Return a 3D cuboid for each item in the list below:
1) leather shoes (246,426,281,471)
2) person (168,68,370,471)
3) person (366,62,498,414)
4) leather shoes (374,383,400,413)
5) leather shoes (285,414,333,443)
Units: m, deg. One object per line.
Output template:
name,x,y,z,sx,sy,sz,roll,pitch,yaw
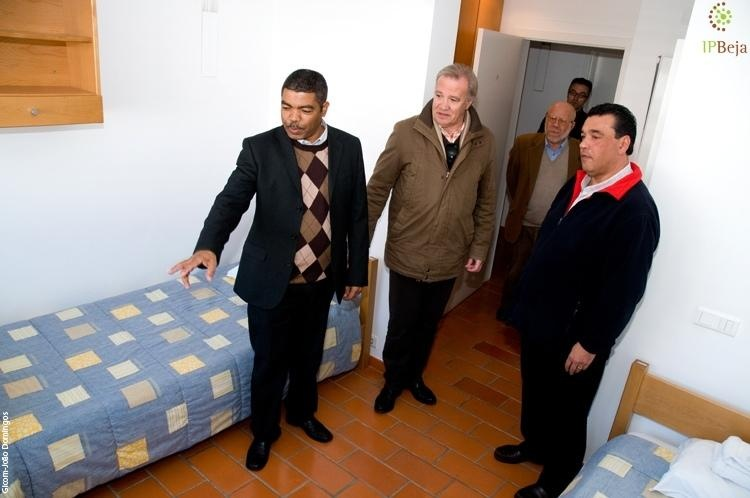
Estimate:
leather shoes,-0.673,1.193,2.808,0.118,0.111,0.306,13,37,3
person,-0.462,0.189,2.574,1.004,2.210,0.547,-7,28,-22
person,0.334,-0.027,3.093,0.886,2.261,0.488,-12,30,-30
leather shoes,0.084,1.062,3.238,0.122,0.094,0.240,12,29,20
leather shoes,-0.408,1.161,3.032,0.337,0.142,0.128,19,24,17
